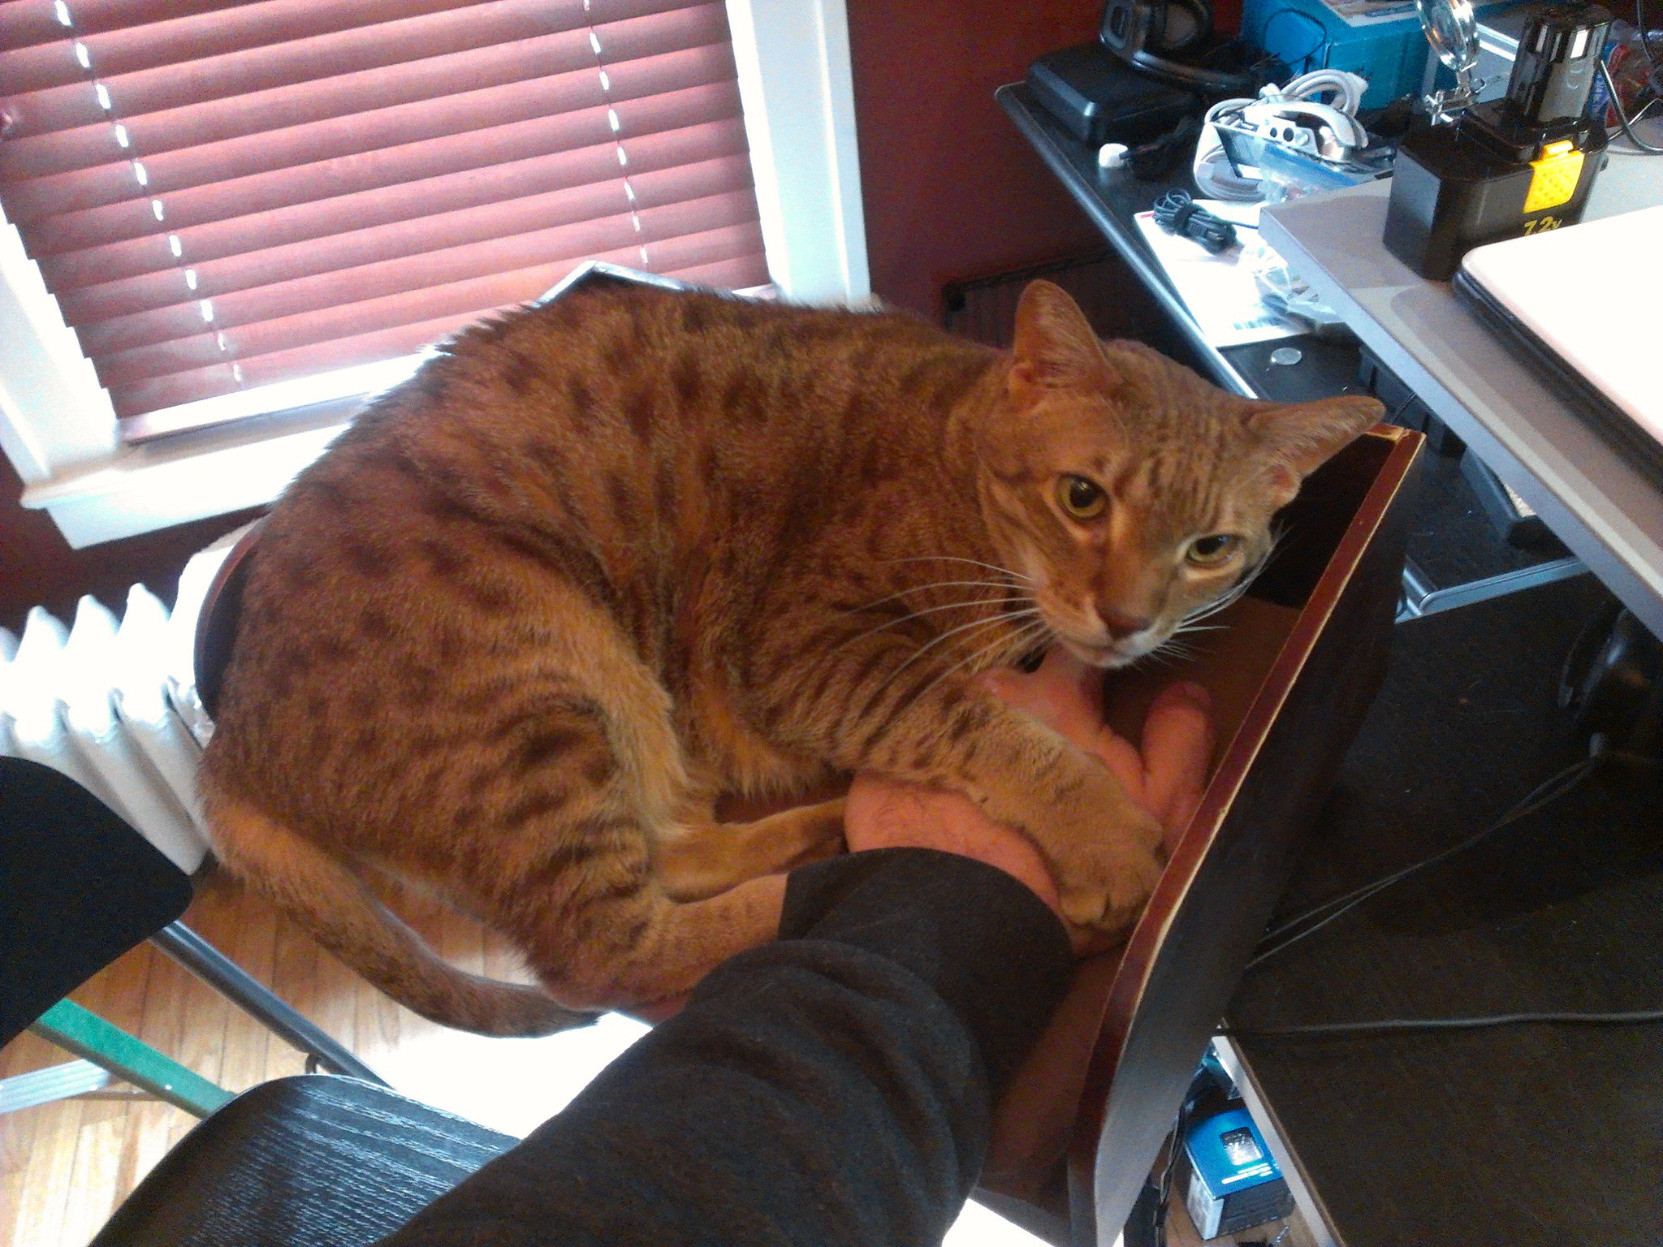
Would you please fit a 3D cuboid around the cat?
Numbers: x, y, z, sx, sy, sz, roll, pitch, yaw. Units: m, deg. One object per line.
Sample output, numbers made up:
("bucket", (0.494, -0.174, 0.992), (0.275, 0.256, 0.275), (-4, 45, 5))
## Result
("cat", (-0.053, 0.096, 1.603), (1.037, 0.533, 0.752), (-3, 59, -1))
